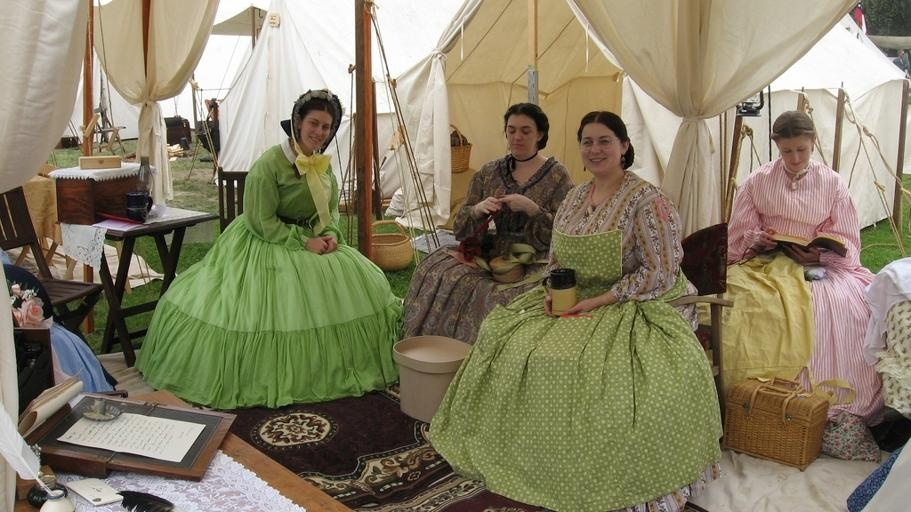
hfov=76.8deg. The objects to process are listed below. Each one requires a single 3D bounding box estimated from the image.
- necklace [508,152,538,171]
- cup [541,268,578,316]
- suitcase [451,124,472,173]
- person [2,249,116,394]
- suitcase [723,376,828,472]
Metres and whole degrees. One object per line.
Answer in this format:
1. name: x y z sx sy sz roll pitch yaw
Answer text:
1. necklace: 0.543 -0.746 4.609 0.196 0.148 0.137 0 -1 -13
2. cup: 0.679 0.275 3.871 0.176 0.254 0.175 -9 -8 -1
3. suitcase: 0.035 -1.543 8.361 0.467 0.548 0.490 -6 17 0
4. person: -2.747 0.532 4.010 0.526 0.995 0.667 -2 9 -16
5. suitcase: 2.212 1.129 3.935 0.415 0.491 0.537 0 3 -35
